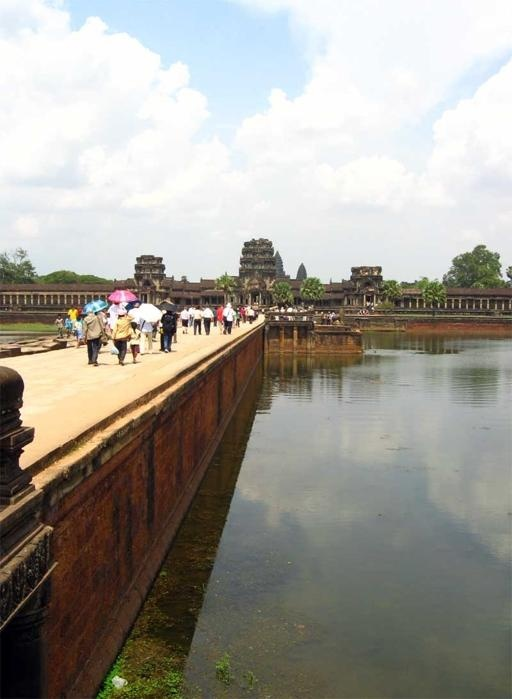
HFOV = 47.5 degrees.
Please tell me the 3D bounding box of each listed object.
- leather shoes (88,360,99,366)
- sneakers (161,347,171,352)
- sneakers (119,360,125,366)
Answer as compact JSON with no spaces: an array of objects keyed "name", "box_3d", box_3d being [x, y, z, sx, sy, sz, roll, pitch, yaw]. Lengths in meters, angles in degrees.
[{"name":"leather shoes","box_3d":[-3.492,0.308,12.444,0.133,0.106,0.327,-20,3,-5]},{"name":"sneakers","box_3d":[-2.467,0.021,16.024,0.129,0.121,0.429,5,-3,-21]},{"name":"sneakers","box_3d":[-2.872,0.281,12.471,0.057,0.073,0.178,1,9,-3]}]
